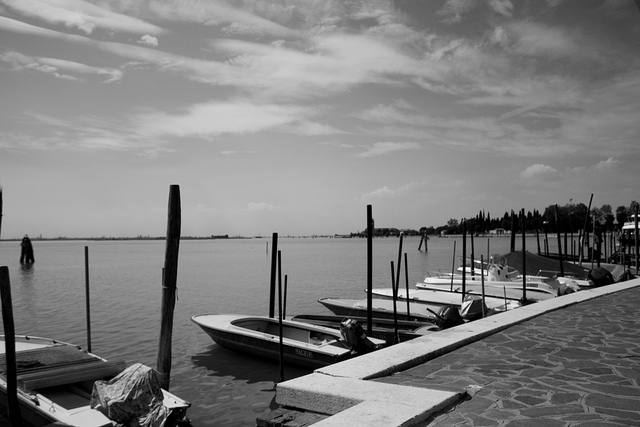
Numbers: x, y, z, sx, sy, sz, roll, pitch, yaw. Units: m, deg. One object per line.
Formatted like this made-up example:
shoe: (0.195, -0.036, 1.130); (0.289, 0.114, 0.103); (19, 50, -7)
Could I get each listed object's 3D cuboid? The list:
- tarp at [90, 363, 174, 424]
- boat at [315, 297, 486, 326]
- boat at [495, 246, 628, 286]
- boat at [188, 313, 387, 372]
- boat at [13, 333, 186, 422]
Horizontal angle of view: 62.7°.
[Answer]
tarp: (-4.872, 4.600, 13.363); (1.888, 1.520, 0.638); (0, 0, 9)
boat: (3.874, 4.519, 24.265); (7.546, 1.701, 1.739); (-3, -15, 32)
boat: (14.686, 3.567, 35.526); (6.751, 1.993, 6.289); (-5, 7, 40)
boat: (-1.681, 5.085, 21.470); (7.712, 1.457, 3.212); (1, -7, 30)
boat: (-7.290, 4.952, 15.445); (7.700, 1.797, 2.420); (4, -3, 44)
